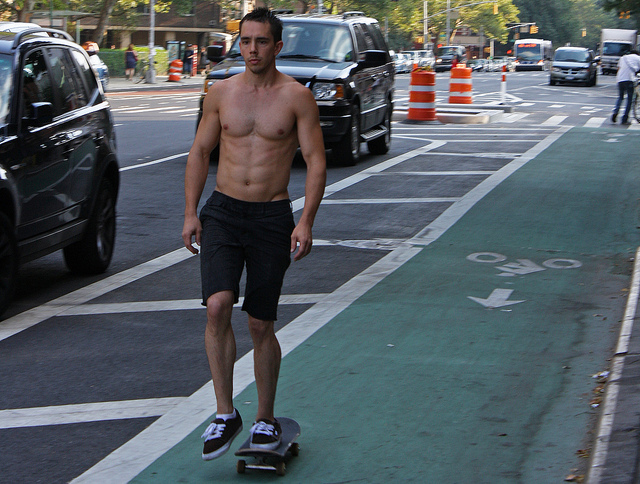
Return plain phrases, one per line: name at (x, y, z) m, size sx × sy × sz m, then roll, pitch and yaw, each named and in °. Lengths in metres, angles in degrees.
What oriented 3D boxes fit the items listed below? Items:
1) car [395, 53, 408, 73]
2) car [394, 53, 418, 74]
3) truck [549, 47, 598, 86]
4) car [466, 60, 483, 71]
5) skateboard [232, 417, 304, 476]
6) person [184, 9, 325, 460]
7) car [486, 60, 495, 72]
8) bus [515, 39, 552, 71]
car at (9.775, -21.597, 74.404) m, size 1.360 × 2.354 × 4.157 m, roll -1°, pitch 12°, yaw 10°
car at (10.404, -21.866, 75.393) m, size 2.408 × 2.917 × 7.707 m, roll 0°, pitch 12°, yaw 11°
truck at (18.918, -13.142, 46.123) m, size 3.140 × 2.889 × 1.980 m, roll 2°, pitch 15°, yaw 21°
car at (23.191, -26.671, 92.467) m, size 1.996 × 1.687 × 3.908 m, roll 1°, pitch 12°, yaw 15°
skateboard at (-0.238, 0.899, 2.780) m, size 0.278 × 0.195 × 0.314 m, roll -2°, pitch 12°, yaw 1°
person at (-0.310, -0.110, 2.843) m, size 0.703 × 1.949 × 0.857 m, roll -4°, pitch 15°, yaw 0°
car at (26.521, -27.629, 96.267) m, size 1.122 × 2.104 × 5.285 m, roll 1°, pitch 12°, yaw 15°
bus at (28.571, -25.595, 84.126) m, size 3.530 × 4.283 × 7.285 m, roll 2°, pitch 13°, yaw 19°
